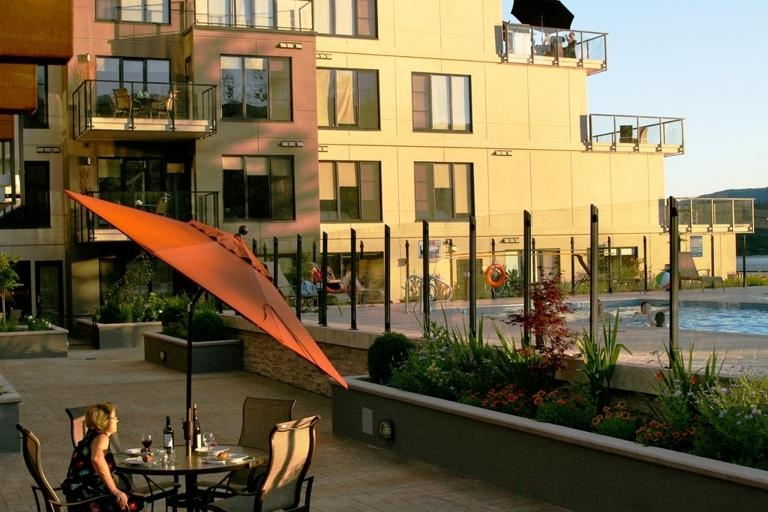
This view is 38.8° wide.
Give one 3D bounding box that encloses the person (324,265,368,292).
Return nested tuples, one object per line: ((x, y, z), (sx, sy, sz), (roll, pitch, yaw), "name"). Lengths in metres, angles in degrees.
((-1.143, 0.745, 32.486), (1.265, 0.791, 0.581), (-1, 2, 5), "person")

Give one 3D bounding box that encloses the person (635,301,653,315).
((7.233, 1.454, 29.944), (0.526, 0.356, 0.713), (-1, 0, 14), "person")

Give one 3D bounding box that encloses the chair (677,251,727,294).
((11.187, 0.438, 38.261), (1.128, 1.186, 1.878), (-1, -10, -21), "chair")

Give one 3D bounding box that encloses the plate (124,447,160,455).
((-4.249, 3.442, 19.105), (0.591, 0.085, 0.600), (3, -4, -20), "plate")

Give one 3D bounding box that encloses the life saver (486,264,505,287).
((2.865, 0.515, 27.746), (0.491, 0.561, 1.541), (0, 2, 5), "life saver")

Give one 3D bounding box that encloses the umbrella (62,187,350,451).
((-2.993, 0.783, 19.526), (3.860, 3.008, 4.072), (20, 13, -26), "umbrella")

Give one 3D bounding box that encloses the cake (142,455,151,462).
((-4.041, 3.453, 18.481), (0.108, 0.081, 0.111), (2, -2, -12), "cake")

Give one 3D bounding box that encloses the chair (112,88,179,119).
((-7.977, -4.942, 35.818), (1.638, 0.942, 1.017), (-2, 6, -25), "chair")

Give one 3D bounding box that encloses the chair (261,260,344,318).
((-2.348, 0.814, 31.873), (2.234, 1.612, 1.093), (1, 21, -12), "chair")
